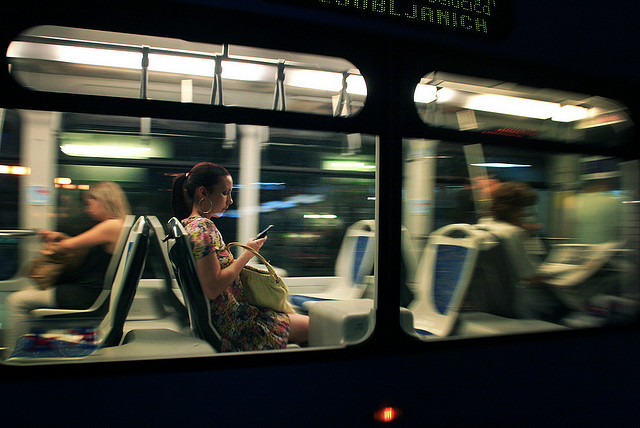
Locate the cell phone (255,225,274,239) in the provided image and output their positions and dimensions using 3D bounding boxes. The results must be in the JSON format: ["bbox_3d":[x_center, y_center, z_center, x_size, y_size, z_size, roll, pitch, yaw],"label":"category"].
[{"bbox_3d":[-0.378,0.120,3.761,0.157,0.038,0.084,-27,-14,-13],"label":"cell phone"}]

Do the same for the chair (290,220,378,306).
[{"bbox_3d":[0.117,0.417,4.838,0.864,0.815,0.576,5,-5,-24],"label":"chair"}]

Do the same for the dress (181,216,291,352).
[{"bbox_3d":[-0.563,0.495,3.635,0.804,0.962,0.425,-4,9,-19],"label":"dress"}]

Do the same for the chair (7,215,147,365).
[{"bbox_3d":[-1.518,0.462,3.371,0.871,0.776,0.605,-2,4,-11],"label":"chair"}]

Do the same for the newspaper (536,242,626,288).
[{"bbox_3d":[1.791,0.348,3.698,0.518,0.321,0.167,0,2,9],"label":"newspaper"}]
